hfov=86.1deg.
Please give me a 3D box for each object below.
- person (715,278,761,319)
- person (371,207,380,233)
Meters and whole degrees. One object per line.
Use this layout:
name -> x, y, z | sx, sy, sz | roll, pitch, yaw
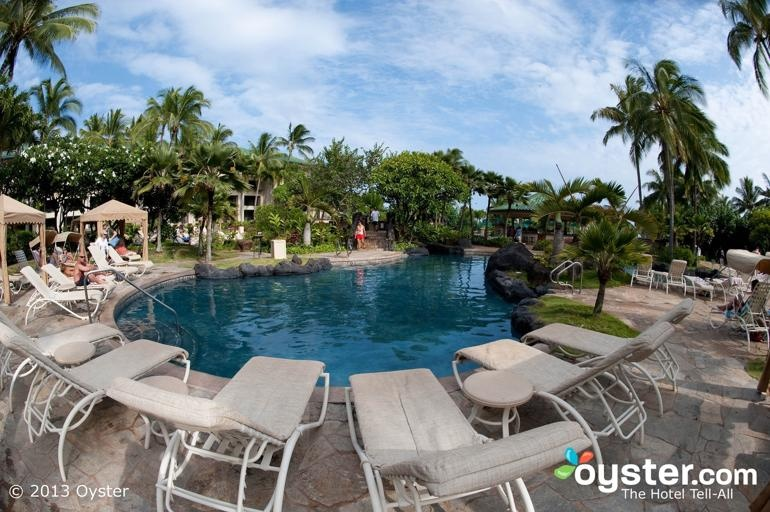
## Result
person -> 8.095, 1.029, 9.524 | 0.297, 0.760, 0.791 | 0, -10, -27
person -> -0.752, -2.734, 31.462 | 0.506, 1.536, 1.020 | 0, 10, -8
